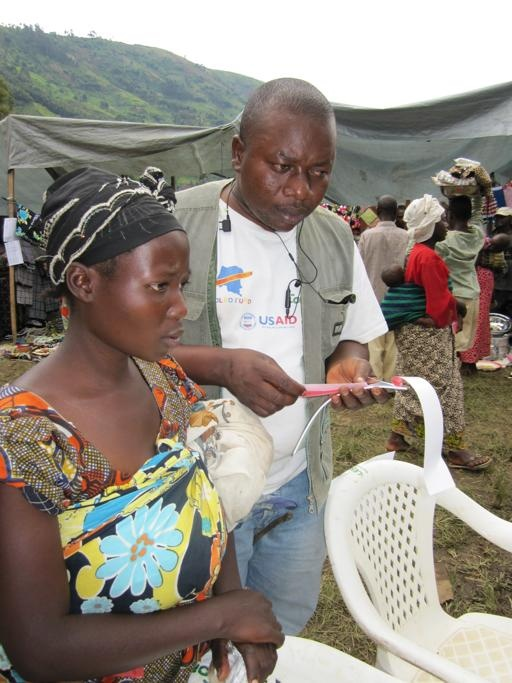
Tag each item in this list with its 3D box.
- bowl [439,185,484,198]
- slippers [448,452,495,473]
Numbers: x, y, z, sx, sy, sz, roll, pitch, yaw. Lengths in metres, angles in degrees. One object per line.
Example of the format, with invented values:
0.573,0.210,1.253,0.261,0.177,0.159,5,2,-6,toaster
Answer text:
1.910,-1.409,5.601,0.210,0.068,0.184,1,9,25,bowl
1.677,0.939,4.689,0.343,0.172,0.149,-5,4,26,slippers
